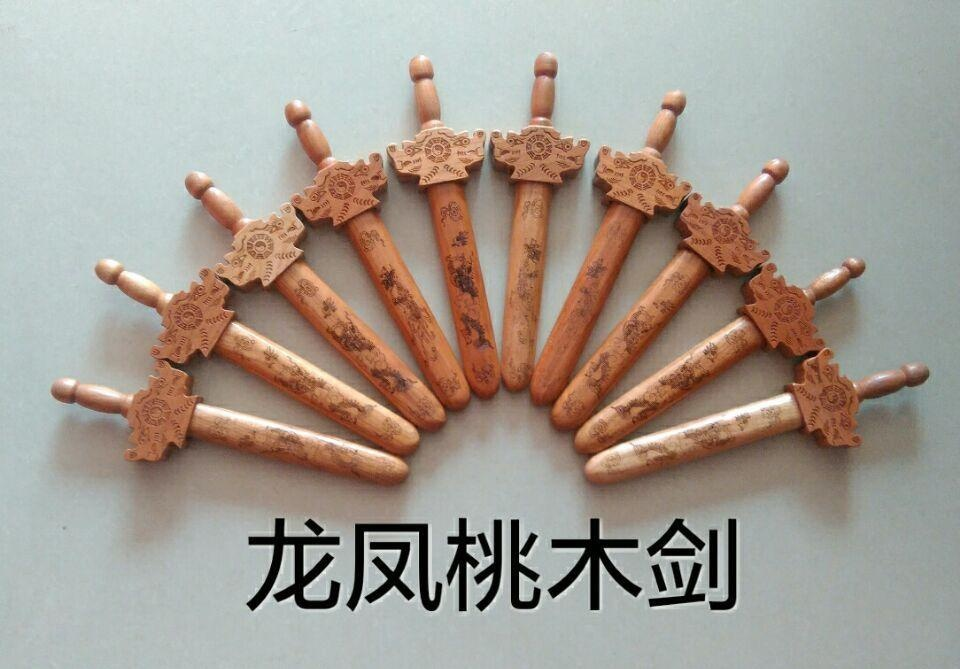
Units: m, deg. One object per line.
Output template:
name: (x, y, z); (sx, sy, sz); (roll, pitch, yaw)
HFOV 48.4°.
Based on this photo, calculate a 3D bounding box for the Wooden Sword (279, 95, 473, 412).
Wooden Sword: (-0.282, -0.226, 2.668); (0.283, 0.105, 0.957); (-28, 87, -3)

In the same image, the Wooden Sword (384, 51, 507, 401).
Wooden Sword: (-0.070, -0.244, 2.540); (0.240, 0.101, 0.790); (-12, 88, -2)

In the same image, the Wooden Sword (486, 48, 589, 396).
Wooden Sword: (0.128, -0.258, 2.443); (0.250, 0.104, 0.782); (9, 82, -4)

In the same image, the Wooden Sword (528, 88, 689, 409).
Wooden Sword: (0.284, -0.197, 2.692); (0.286, 0.102, 0.869); (28, 86, 1)

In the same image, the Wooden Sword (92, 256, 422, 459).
Wooden Sword: (-0.504, 0.070, 2.522); (0.788, 0.081, 0.095); (32, 87, -5)

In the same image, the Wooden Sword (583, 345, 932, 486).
Wooden Sword: (0.607, 0.171, 2.665); (0.932, 0.288, 0.150); (-17, 44, -3)

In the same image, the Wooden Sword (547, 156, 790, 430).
Wooden Sword: (0.458, -0.081, 2.657); (0.285, 0.099, 0.879); (42, 81, 13)
